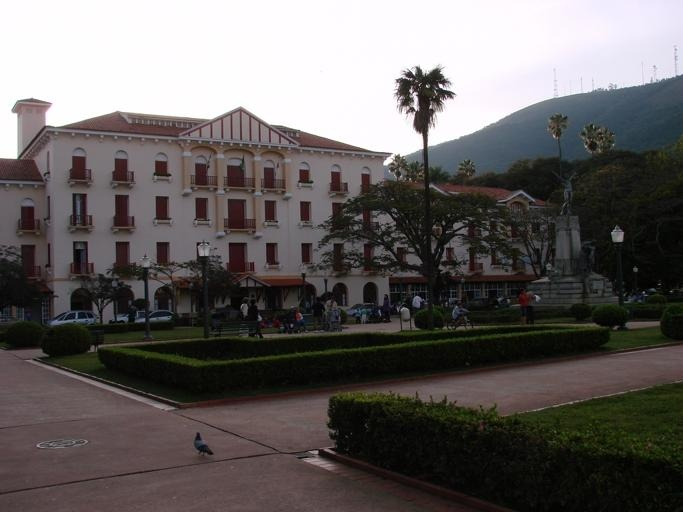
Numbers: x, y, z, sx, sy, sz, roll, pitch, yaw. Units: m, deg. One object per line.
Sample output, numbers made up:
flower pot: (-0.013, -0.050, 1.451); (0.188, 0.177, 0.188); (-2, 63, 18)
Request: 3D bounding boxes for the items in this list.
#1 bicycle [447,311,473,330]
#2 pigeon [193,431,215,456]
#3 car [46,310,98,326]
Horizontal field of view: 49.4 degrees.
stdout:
bicycle: (5.903, 3.212, 36.511); (1.208, 1.215, 2.377); (-1, -5, 3)
pigeon: (-2.421, 3.273, 12.925); (0.225, 0.429, 0.717); (8, -7, -37)
car: (-17.469, 3.878, 48.086); (2.749, 1.010, 3.651); (-3, -7, -2)
